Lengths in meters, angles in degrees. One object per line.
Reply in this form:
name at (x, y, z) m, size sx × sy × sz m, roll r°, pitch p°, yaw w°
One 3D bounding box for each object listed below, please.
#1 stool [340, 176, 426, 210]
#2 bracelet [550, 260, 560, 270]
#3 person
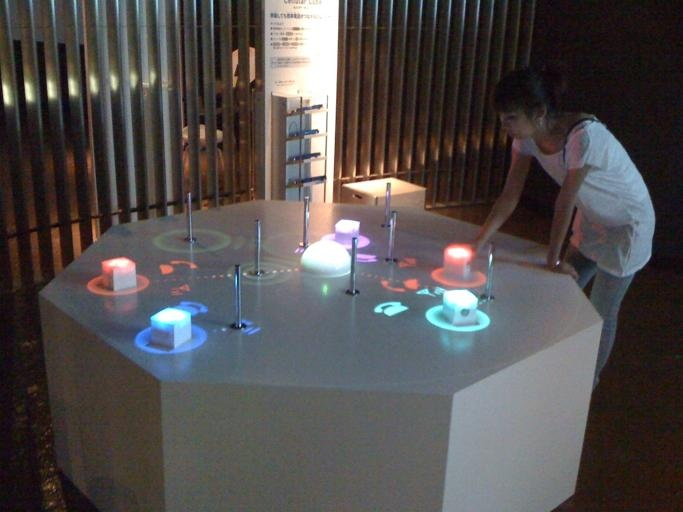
stool at (0.318, -0.526, 4.896) m, size 0.440 × 0.296 × 0.450 m, roll -9°, pitch 23°, yaw -28°
bracelet at (1.032, 0.040, 2.832) m, size 0.035 × 0.009 × 0.035 m, roll -32°, pitch 32°, yaw -30°
person at (1.129, -0.030, 2.962) m, size 0.875 × 1.801 × 0.578 m, roll -5°, pitch 28°, yaw 1°
